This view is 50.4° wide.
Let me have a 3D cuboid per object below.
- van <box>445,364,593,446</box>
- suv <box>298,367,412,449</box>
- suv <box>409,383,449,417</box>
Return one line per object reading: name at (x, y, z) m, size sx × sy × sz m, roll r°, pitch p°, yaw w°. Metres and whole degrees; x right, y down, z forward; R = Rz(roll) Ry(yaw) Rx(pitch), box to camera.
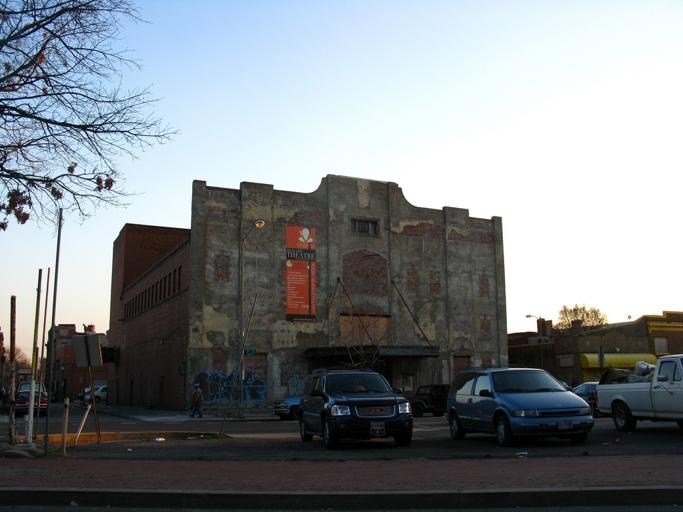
van at (4.641, 4.120, 20.257) m, size 2.032 × 1.607 × 3.734 m, roll 5°, pitch -21°, yaw -20°
suv at (0.265, 4.282, 20.671) m, size 2.184 × 2.120 × 3.364 m, roll 3°, pitch -11°, yaw -27°
suv at (4.763, 7.745, 39.150) m, size 3.237 × 1.984 × 2.042 m, roll 1°, pitch -12°, yaw 0°
